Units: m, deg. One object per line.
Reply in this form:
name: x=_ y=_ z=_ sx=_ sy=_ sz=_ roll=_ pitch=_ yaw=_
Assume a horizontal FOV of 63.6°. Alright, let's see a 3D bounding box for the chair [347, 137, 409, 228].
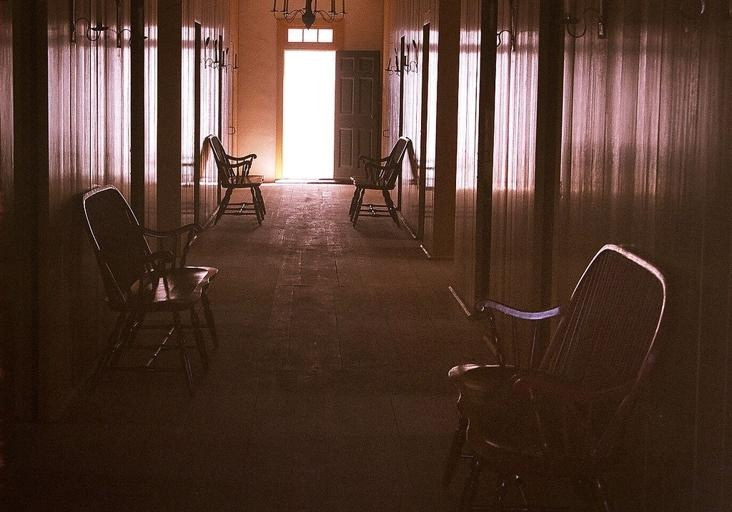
chair: x=0.162 y=-1.106 z=8.652 sx=1.043 sy=1.713 sz=1.011 roll=2 pitch=14 yaw=-6
